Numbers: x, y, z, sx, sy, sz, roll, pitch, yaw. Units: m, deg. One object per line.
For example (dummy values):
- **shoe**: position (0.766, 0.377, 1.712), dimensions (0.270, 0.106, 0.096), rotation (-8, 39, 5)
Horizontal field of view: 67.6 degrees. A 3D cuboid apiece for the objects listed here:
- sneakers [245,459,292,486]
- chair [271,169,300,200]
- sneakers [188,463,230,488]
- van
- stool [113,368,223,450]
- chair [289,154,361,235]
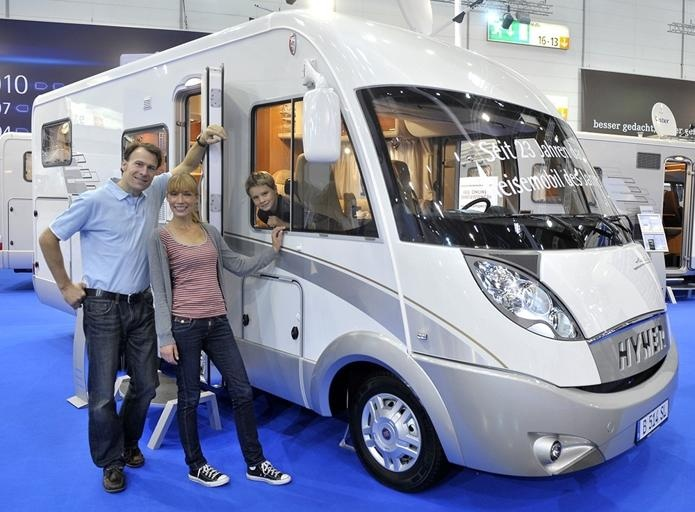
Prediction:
- **sneakers**: position (-0.579, 1.574, 3.831), dimensions (0.351, 0.166, 0.141), rotation (1, 4, 15)
- **chair**: position (-0.493, -0.569, 4.095), dimensions (0.163, 0.214, 0.220), rotation (-16, 9, -26)
- **sneakers**: position (-1.015, 1.555, 3.787), dimensions (0.298, 0.141, 0.130), rotation (0, 0, 29)
- **van**: position (-0.281, -0.151, 4.959), dimensions (3.030, 3.027, 5.484), rotation (-6, 8, -43)
- **stool**: position (-1.567, 1.318, 4.622), dimensions (0.548, 0.334, 0.774), rotation (1, 2, -44)
- **chair**: position (-0.180, -0.449, 3.866), dimensions (0.529, 0.681, 0.453), rotation (1, 2, 19)
